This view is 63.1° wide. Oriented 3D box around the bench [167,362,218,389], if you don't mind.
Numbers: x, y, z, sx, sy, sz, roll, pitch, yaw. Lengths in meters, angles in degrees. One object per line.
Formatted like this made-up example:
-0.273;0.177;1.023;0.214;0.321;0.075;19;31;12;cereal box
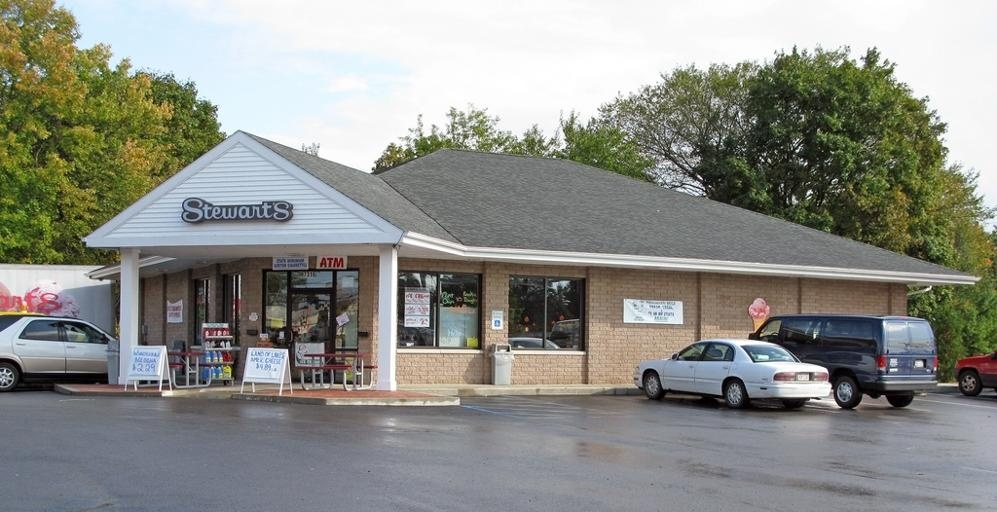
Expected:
-12.711;4.868;33.892;1.257;0.812;1.902;1;-2;-41;bench

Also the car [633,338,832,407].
9.101;4.822;33.165;3.120;1.745;6.555;4;-3;-42;car

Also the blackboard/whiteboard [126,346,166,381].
-14.003;4.263;32.371;1.618;1.282;0.561;-1;-8;4;blackboard/whiteboard

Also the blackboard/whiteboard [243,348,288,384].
-9.037;4.244;31.738;1.761;1.039;0.595;-1;-14;13;blackboard/whiteboard

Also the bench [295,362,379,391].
-6.734;4.937;33.890;1.799;0.707;1.856;-3;-6;21;bench

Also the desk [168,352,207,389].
-13.045;4.679;33.894;1.573;1.033;2.377;3;-7;-32;desk
